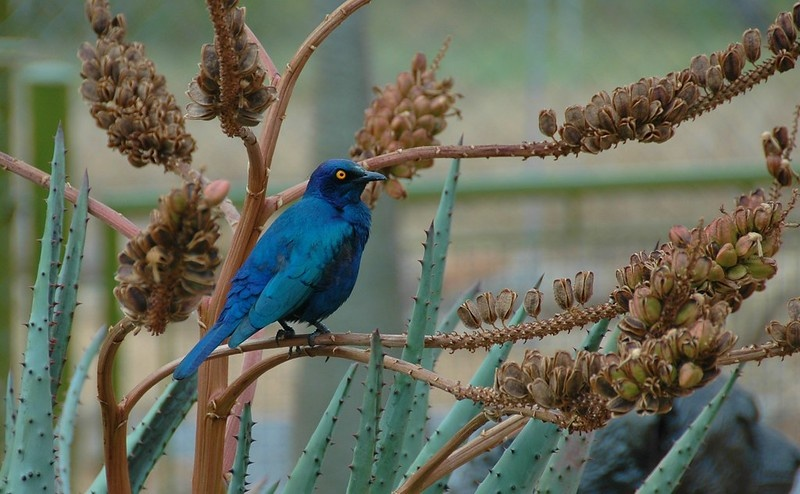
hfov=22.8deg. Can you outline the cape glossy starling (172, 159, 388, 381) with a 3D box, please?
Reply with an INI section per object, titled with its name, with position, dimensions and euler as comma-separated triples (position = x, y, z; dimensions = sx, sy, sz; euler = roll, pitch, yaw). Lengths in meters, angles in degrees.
[cape glossy starling]
position = -0.446, 0.077, 7.233
dimensions = 0.751, 0.799, 0.371
euler = 0, -3, -23
